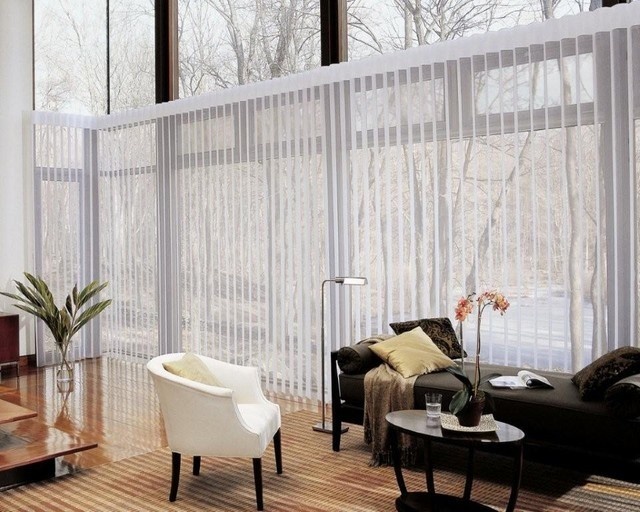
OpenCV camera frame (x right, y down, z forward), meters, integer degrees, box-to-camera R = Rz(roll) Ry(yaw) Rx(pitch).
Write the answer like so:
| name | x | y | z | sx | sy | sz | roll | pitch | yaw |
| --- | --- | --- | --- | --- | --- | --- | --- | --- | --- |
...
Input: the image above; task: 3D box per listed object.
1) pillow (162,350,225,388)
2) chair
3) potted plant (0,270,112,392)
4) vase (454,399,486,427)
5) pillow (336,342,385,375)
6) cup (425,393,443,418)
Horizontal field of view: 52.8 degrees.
| name | x | y | z | sx | sy | sz | roll | pitch | yaw |
| --- | --- | --- | --- | --- | --- | --- | --- | --- | --- |
| pillow | -0.908 | 0.773 | 4.439 | 0.319 | 0.078 | 0.217 | 19 | 3 | 34 |
| chair | -0.718 | 1.152 | 4.684 | 0.814 | 1.077 | 0.943 | -1 | -1 | 5 |
| potted plant | -3.032 | 0.719 | 7.642 | 1.226 | 1.435 | 1.241 | -1 | 1 | -41 |
| vase | 0.913 | 0.938 | 3.931 | 0.146 | 0.137 | 0.151 | 0 | 0 | 25 |
| pillow | 0.286 | 0.789 | 5.135 | 0.172 | 0.235 | 0.299 | 4 | 6 | 24 |
| cup | 0.707 | 0.955 | 4.116 | 0.117 | 0.163 | 0.134 | -1 | -6 | 8 |
